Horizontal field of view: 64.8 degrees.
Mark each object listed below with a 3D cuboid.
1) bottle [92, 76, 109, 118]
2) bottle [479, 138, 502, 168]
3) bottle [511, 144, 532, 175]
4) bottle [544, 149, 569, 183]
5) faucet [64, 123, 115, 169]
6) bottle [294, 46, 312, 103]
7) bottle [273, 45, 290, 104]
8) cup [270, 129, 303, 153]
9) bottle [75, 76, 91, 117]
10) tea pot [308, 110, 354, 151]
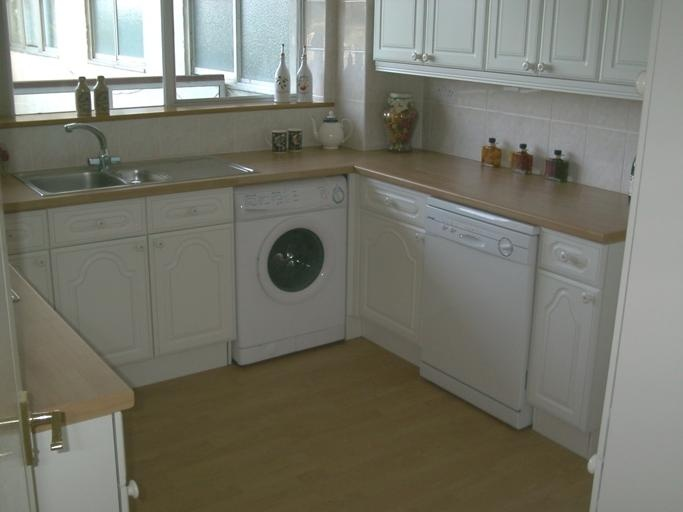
[{"bbox_3d":[-1.454,-0.974,3.258,0.092,0.217,0.144,-11,21,-24],"label":"bottle"},{"bbox_3d":[0.954,-0.653,3.410,0.066,0.213,0.148,-12,20,-37],"label":"bottle"},{"bbox_3d":[1.089,-0.574,3.233,0.073,0.210,0.151,-12,19,-38],"label":"bottle"},{"bbox_3d":[1.242,-0.514,3.091,0.065,0.208,0.146,-15,24,-35],"label":"bottle"},{"bbox_3d":[-1.409,-0.632,3.081,0.242,0.274,0.312,-11,21,-23],"label":"faucet"},{"bbox_3d":[-0.267,-1.328,3.928,0.121,0.367,0.245,-2,19,1],"label":"bottle"},{"bbox_3d":[-0.425,-1.270,3.836,0.120,0.328,0.147,-4,19,-7],"label":"bottle"},{"bbox_3d":[-0.363,-0.793,3.682,0.242,0.163,0.141,-8,25,-22],"label":"cup"},{"bbox_3d":[-1.547,-0.961,3.233,0.096,0.225,0.198,-11,21,-24],"label":"bottle"},{"bbox_3d":[-0.061,-0.913,3.885,0.230,0.253,0.253,-2,19,1],"label":"tea pot"}]
